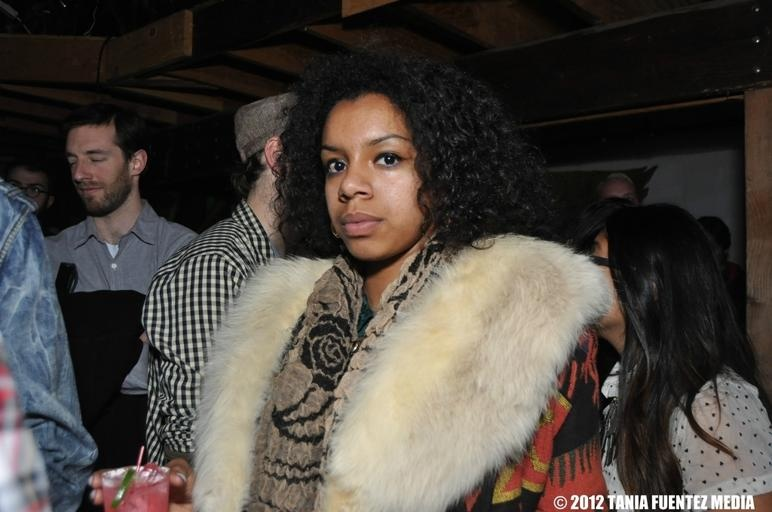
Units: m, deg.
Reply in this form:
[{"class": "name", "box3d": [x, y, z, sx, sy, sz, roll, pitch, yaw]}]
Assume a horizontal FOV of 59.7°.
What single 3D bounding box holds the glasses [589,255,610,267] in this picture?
[{"class": "glasses", "box3d": [0.975, 0.028, 3.079, 0.059, 0.031, 0.043, 10, -4, 24]}]
